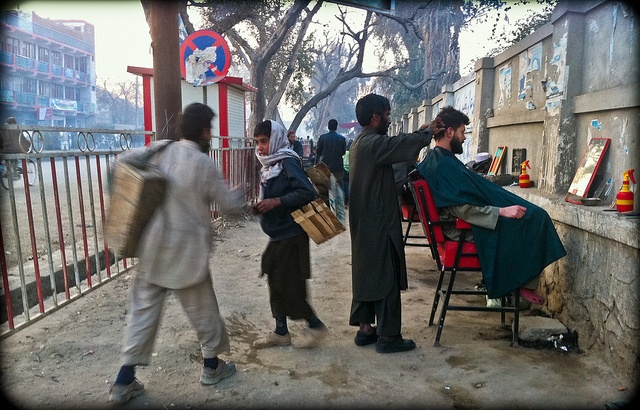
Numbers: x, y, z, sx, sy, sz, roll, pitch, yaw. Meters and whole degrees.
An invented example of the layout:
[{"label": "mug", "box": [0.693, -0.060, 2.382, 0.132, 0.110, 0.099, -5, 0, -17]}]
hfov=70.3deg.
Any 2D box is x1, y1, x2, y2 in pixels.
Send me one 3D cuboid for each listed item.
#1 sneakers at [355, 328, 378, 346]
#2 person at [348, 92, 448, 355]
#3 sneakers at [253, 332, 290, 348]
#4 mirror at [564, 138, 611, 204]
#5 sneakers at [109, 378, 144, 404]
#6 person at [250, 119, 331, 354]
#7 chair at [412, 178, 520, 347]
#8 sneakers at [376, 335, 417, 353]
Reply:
[{"label": "sneakers", "box": [0.521, 1.435, 4.887, 0.120, 0.129, 0.329, 4, 6, 42]}, {"label": "person", "box": [0.707, 0.345, 4.761, 0.831, 2.341, 0.533, 1, 9, 4]}, {"label": "sneakers", "box": [-0.489, 1.454, 4.896, 0.430, 0.144, 0.144, 1, -2, -3]}, {"label": "mirror", "box": [3.096, -0.406, 5.277, 0.668, 0.741, 0.337, -7, 12, -41]}, {"label": "sneakers", "box": [-1.698, 1.645, 4.101, 0.139, 0.145, 0.330, 4, 7, 24]}, {"label": "person", "box": [-0.389, 0.315, 4.840, 0.643, 2.376, 0.415, -1, 9, -8]}, {"label": "chair", "box": [1.573, 0.490, 6.052, 1.811, 2.478, 1.486, -2, 2, 6]}, {"label": "sneakers", "box": [0.786, 1.430, 4.774, 0.418, 0.181, 0.154, -2, 4, -11]}]
